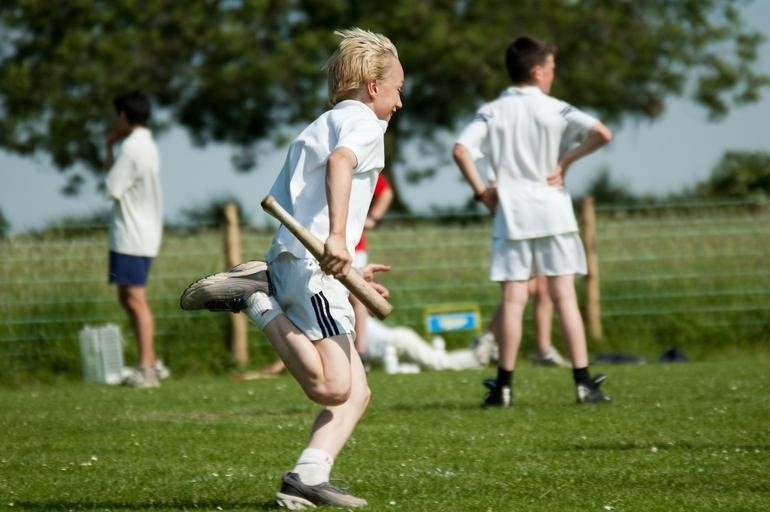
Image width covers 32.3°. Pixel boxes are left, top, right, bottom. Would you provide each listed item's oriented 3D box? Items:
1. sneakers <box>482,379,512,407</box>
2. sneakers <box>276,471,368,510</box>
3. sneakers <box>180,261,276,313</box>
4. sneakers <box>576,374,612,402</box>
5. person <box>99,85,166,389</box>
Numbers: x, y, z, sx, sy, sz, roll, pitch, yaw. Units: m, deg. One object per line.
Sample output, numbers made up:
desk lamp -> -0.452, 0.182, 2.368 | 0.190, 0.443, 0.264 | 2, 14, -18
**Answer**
sneakers -> 0.810, 0.986, 9.643 | 0.210, 0.181, 0.182 | -5, -1, 7
sneakers -> -0.420, 1.518, 8.651 | 0.614, 0.244, 0.214 | 3, -4, -10
sneakers -> -1.007, 0.198, 8.561 | 0.545, 0.247, 0.283 | -6, -5, -15
sneakers -> 1.571, 0.958, 9.757 | 0.243, 0.191, 0.353 | -5, -1, 38
person -> -1.926, -0.200, 10.319 | 0.444, 1.980, 1.112 | -4, -1, -9
